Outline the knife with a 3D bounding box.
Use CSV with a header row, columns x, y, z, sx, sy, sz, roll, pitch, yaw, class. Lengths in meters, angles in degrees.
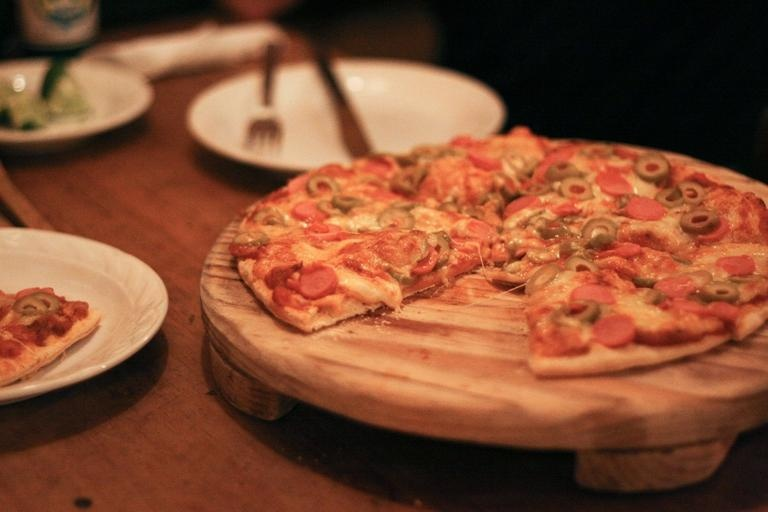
x,y,z,sx,sy,sz,roll,pitch,yaw,class
-0.126,-0.456,2.181,0.102,0.398,0.018,-13,52,12,knife
